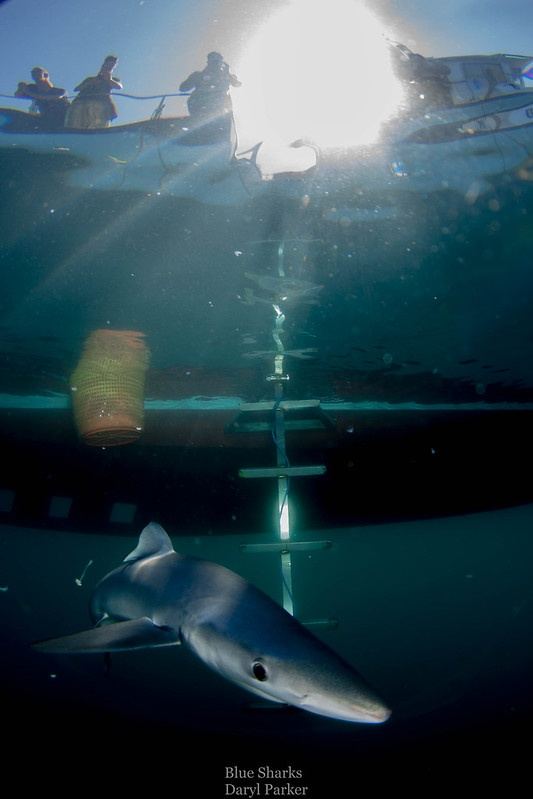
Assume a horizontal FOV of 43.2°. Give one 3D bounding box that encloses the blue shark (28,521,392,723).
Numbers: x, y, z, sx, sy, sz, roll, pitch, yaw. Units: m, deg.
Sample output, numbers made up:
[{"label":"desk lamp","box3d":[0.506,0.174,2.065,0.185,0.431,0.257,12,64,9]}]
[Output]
[{"label":"blue shark","box3d":[-0.135,1.817,5.245,1.829,1.925,2.115,2,5,-38]}]
